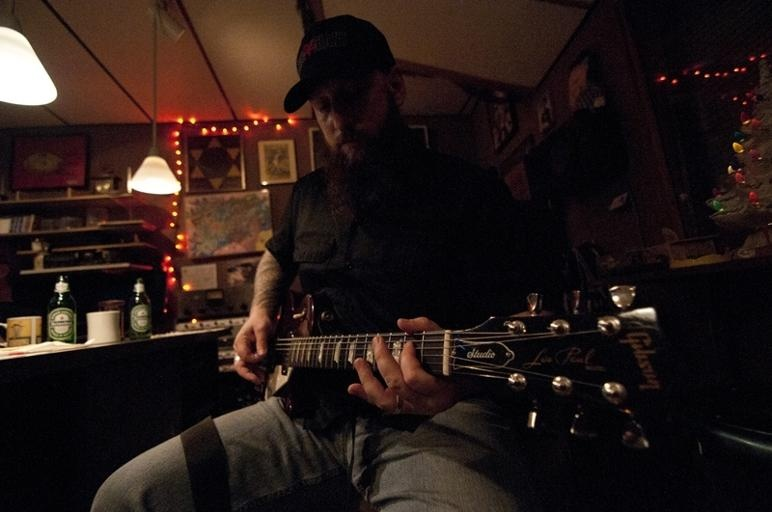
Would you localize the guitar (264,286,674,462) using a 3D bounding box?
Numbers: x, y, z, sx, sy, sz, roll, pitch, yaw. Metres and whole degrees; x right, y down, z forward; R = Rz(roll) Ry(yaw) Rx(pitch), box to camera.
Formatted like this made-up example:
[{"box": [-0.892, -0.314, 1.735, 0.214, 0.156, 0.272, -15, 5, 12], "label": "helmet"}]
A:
[{"box": [0.296, 0.400, 2.500, 1.888, 0.590, 0.247, 3, 0, 36], "label": "guitar"}]

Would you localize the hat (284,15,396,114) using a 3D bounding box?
[{"box": [-0.210, -0.942, 2.911, 0.543, 0.271, 0.387, -21, 3, -23], "label": "hat"}]

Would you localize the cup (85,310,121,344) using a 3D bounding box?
[{"box": [-1.508, 0.383, 3.182, 0.185, 0.172, 0.164, -1, -7, 12], "label": "cup"}]

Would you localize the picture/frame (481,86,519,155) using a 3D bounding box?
[{"box": [0.876, -1.059, 4.523, 0.042, 0.408, 0.313, -6, 3, -26], "label": "picture/frame"}]

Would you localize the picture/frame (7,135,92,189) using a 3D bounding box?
[{"box": [-2.776, -0.754, 4.882, 0.463, 0.374, 0.064, 2, -7, -9], "label": "picture/frame"}]

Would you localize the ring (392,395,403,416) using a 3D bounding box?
[{"box": [0.045, 0.594, 2.360, 0.030, 0.066, 0.048, 3, -46, -27], "label": "ring"}]
